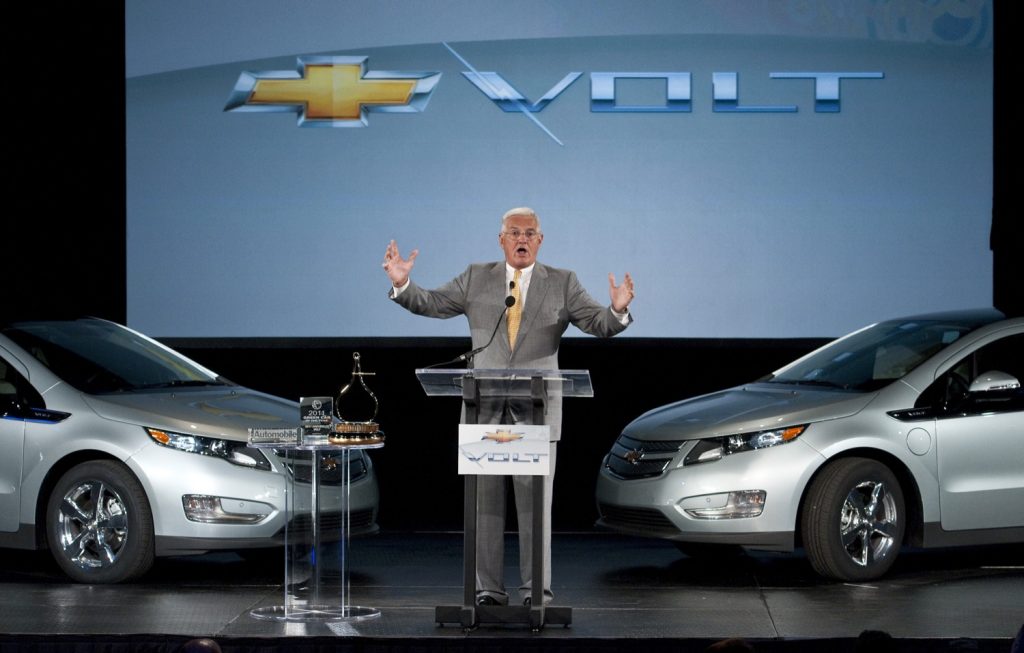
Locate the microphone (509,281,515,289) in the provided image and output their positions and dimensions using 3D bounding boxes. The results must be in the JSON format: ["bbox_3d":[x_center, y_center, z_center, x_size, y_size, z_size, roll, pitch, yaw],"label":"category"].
[{"bbox_3d":[0.003,-0.303,6.824,0.039,0.053,0.053,0,-6,-3],"label":"microphone"}]

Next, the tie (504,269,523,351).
[{"bbox_3d":[0.028,-0.123,7.011,0.113,0.573,0.084,2,2,1],"label":"tie"}]
